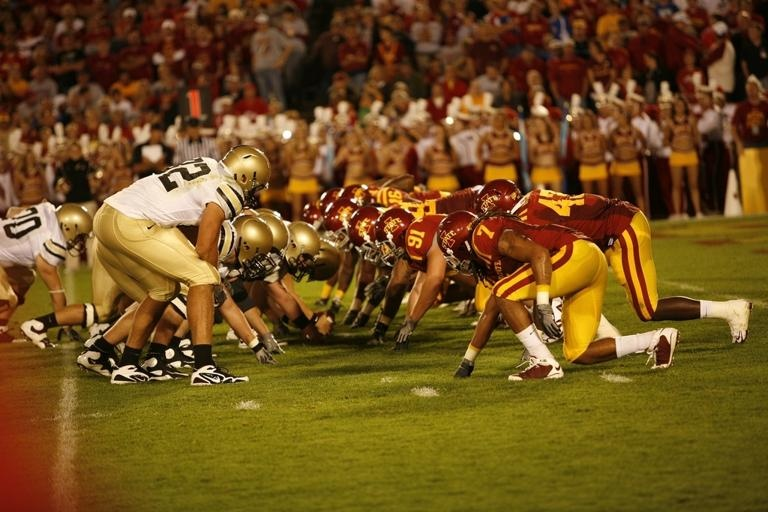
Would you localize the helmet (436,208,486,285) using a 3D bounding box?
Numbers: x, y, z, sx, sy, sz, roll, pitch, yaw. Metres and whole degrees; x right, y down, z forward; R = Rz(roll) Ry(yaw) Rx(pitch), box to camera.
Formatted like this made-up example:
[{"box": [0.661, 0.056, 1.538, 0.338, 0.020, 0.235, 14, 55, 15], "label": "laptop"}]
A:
[{"box": [0.508, -0.068, 5.641, 0.281, 0.459, 0.445, -4, 10, -5], "label": "helmet"}]

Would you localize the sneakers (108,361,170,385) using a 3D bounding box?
[{"box": [-1.758, 0.841, 5.912, 0.462, 0.169, 0.151, -1, -1, -13], "label": "sneakers"}]

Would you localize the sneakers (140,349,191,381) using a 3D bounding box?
[{"box": [-1.545, 0.792, 5.926, 0.424, 0.269, 0.143, 2, -3, -18], "label": "sneakers"}]

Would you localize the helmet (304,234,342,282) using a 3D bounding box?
[{"box": [-0.525, 0.052, 7.458, 0.332, 0.295, 0.374, 35, -35, -14], "label": "helmet"}]

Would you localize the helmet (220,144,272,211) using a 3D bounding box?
[{"box": [-1.037, -0.568, 5.805, 0.428, 0.409, 0.327, 3, 10, -14], "label": "helmet"}]

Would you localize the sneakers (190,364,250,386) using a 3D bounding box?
[{"box": [-1.173, 0.825, 5.740, 0.461, 0.160, 0.147, 0, -2, -9], "label": "sneakers"}]

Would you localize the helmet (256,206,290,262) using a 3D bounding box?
[{"box": [-0.889, -0.172, 6.384, 0.319, 0.334, 0.263, -6, 8, 21], "label": "helmet"}]

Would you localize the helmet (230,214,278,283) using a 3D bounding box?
[{"box": [-0.958, -0.049, 6.103, 0.320, 0.491, 0.265, -4, 10, -9], "label": "helmet"}]

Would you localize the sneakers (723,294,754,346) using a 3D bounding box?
[{"box": [2.536, 0.447, 5.913, 0.190, 0.388, 0.137, -5, 17, 1], "label": "sneakers"}]

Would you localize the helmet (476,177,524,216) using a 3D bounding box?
[{"box": [0.844, -0.439, 6.124, 0.367, 0.280, 0.260, 4, 2, -4], "label": "helmet"}]

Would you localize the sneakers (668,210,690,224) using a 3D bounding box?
[{"box": [4.551, -0.614, 12.718, 0.298, 0.126, 0.623, 1, 11, 20], "label": "sneakers"}]

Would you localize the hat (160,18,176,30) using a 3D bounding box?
[{"box": [-4.287, -4.549, 16.253, 0.248, 0.234, 0.284, -19, 18, -22], "label": "hat"}]

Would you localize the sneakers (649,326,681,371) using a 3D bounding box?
[{"box": [1.857, 0.614, 5.498, 0.200, 0.372, 0.130, 2, 29, 4], "label": "sneakers"}]

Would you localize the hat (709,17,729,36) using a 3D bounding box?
[{"box": [4.359, -2.945, 10.701, 0.194, 0.171, 0.248, 1, 11, 21], "label": "hat"}]

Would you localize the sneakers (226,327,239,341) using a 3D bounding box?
[{"box": [-1.353, 0.698, 7.297, 0.166, 0.079, 0.208, 2, -1, -3], "label": "sneakers"}]

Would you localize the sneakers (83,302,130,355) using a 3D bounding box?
[{"box": [-2.127, 0.546, 6.281, 0.487, 0.205, 0.149, -36, -8, -4], "label": "sneakers"}]

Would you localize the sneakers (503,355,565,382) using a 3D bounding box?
[{"box": [1.017, 0.761, 5.546, 0.453, 0.183, 0.150, -1, -3, 2], "label": "sneakers"}]

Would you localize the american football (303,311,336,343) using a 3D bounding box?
[{"box": [-0.563, 0.572, 6.884, 0.266, 0.194, 0.096, -38, 54, -11], "label": "american football"}]

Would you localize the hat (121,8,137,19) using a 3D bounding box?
[{"box": [-5.170, -4.862, 16.626, 0.323, 0.163, 0.310, -3, 8, -15], "label": "hat"}]
